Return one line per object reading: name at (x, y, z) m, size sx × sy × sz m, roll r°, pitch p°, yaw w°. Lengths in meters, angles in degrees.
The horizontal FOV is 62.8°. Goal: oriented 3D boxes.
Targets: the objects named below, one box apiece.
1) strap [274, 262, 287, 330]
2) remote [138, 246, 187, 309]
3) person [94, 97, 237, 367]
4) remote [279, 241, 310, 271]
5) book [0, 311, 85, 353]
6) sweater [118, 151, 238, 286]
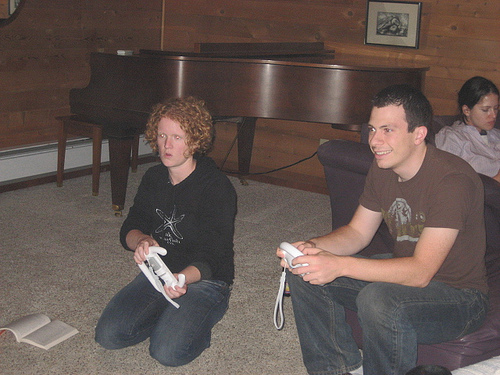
strap at (0.124, 0.406, 1.595) m, size 0.023 × 0.272 × 0.059 m, roll 13°, pitch -11°, yaw -27°
remote at (-0.370, 0.313, 1.606) m, size 0.072 × 0.226 × 0.144 m, roll 3°, pitch 25°, yaw 44°
person at (-0.372, 0.224, 1.800) m, size 0.529 × 1.178 × 0.604 m, roll 21°, pitch 25°, yaw 39°
remote at (0.149, 0.232, 1.448) m, size 0.096 × 0.032 × 0.076 m, roll 45°, pitch -1°, yaw 24°
book at (-1.013, 0.689, 2.003) m, size 0.319 × 0.094 × 0.198 m, roll 7°, pitch 19°, yaw 9°
sweater at (-0.329, 0.174, 1.855) m, size 0.518 × 0.586 × 0.452 m, roll 8°, pitch 13°, yaw 11°
